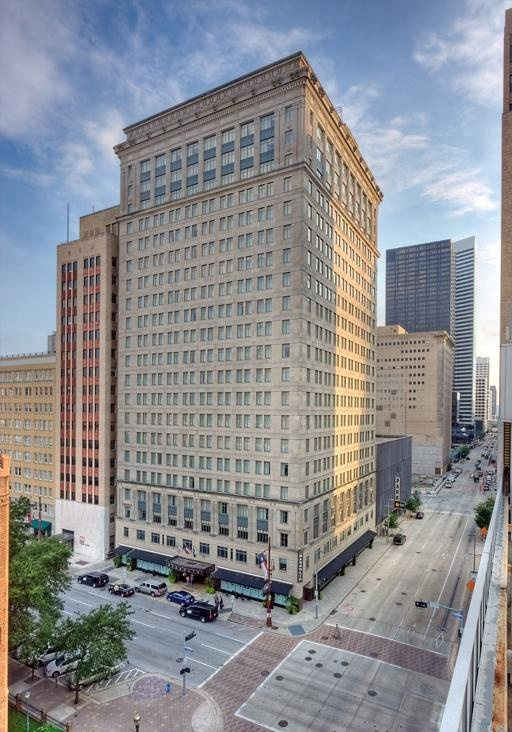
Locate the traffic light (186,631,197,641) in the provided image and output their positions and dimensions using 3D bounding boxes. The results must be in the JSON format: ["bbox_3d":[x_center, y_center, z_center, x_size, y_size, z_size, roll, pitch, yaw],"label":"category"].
[{"bbox_3d":[-5.766,23.965,61.309,1.212,0.333,1.279,-24,-33,13],"label":"traffic light"}]

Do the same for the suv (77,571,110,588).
[{"bbox_3d":[-17.992,23.437,76.096,3.472,1.212,1.830,2,1,30],"label":"suv"}]

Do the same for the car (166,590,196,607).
[{"bbox_3d":[-7.763,23.812,70.682,2.627,0.981,1.216,2,-3,24],"label":"car"}]

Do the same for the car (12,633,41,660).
[{"bbox_3d":[-18.054,22.089,53.923,2.238,2.469,2.109,1,1,-25],"label":"car"}]

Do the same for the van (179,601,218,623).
[{"bbox_3d":[-5.388,23.704,66.532,2.567,1.096,1.702,4,-8,24],"label":"van"}]

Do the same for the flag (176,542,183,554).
[{"bbox_3d":[-8.590,20.529,77.858,0.965,1.221,0.390,-8,-15,41],"label":"flag"}]

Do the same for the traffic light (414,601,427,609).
[{"bbox_3d":[16.399,23.742,68.104,0.997,0.863,1.343,0,-5,13],"label":"traffic light"}]

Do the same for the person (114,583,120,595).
[{"bbox_3d":[-14.782,23.670,73.022,0.614,0.501,0.946,3,2,-8],"label":"person"}]

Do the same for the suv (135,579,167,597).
[{"bbox_3d":[-11.389,23.627,73.773,2.918,1.075,1.500,5,-5,25],"label":"suv"}]

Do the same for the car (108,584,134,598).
[{"bbox_3d":[-14.291,23.657,72.812,2.076,0.688,1.191,2,-7,17],"label":"car"}]

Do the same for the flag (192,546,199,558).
[{"bbox_3d":[-6.713,20.609,76.557,0.964,0.919,0.453,-23,-48,15],"label":"flag"}]

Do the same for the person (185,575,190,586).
[{"bbox_3d":[-7.324,23.230,75.186,0.481,1.091,1.002,1,1,-4],"label":"person"}]
